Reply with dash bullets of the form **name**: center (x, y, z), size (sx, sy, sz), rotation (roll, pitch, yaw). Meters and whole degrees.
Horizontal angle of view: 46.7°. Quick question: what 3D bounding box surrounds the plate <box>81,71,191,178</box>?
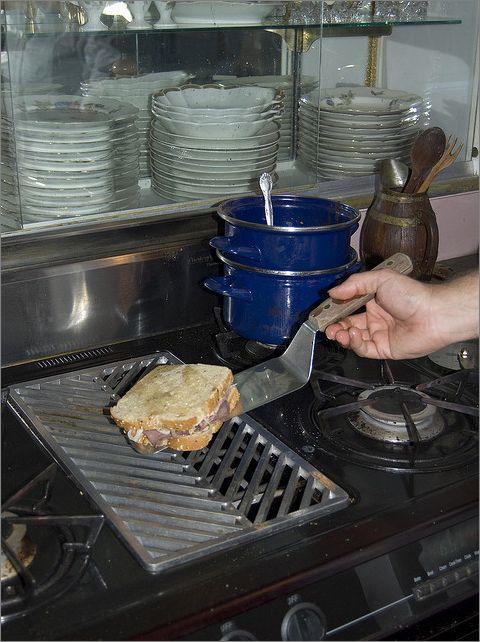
- **plate**: center (-0.161, -0.313, 0.854), size (0.156, 0.093, 0.140), rotation (-6, 27, -11)

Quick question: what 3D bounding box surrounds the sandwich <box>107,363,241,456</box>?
- **sandwich**: center (-0.078, 0.100, 0.654), size (0.130, 0.033, 0.120), rotation (9, 31, 24)

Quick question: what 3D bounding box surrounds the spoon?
- **spoon**: center (0.326, -0.285, 0.976), size (0.063, 0.108, 0.108), rotation (6, 23, 16)

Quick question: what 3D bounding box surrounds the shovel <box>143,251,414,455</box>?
- **shovel**: center (0.079, 0.049, 0.747), size (0.474, 0.044, 0.120), rotation (-24, 30, -9)

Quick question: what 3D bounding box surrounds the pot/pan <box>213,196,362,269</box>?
- **pot/pan**: center (0.060, -0.127, 0.891), size (0.249, 0.062, 0.147), rotation (-9, 35, -14)

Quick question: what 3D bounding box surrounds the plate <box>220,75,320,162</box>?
- **plate**: center (0.054, -0.399, 1.057), size (0.189, 0.116, 0.168), rotation (-1, 27, 1)

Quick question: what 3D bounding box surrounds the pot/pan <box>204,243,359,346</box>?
- **pot/pan**: center (0.064, -0.053, 0.854), size (0.233, 0.109, 0.164), rotation (-13, 31, -25)

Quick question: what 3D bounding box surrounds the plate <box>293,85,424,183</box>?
- **plate**: center (0.242, -0.423, 1.128), size (0.265, 0.109, 0.235), rotation (0, 31, 4)

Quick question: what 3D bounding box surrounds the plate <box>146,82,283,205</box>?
- **plate**: center (-0.041, -0.300, 0.945), size (0.245, 0.126, 0.216), rotation (-4, 31, -5)
